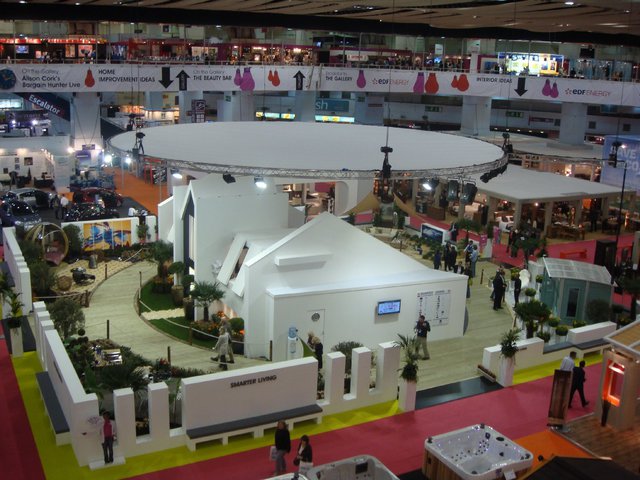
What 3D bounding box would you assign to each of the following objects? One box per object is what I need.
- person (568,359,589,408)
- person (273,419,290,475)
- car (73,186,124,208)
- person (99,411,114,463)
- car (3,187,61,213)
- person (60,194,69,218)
[{"bbox_3d":[8.144,4.425,16.498,0.491,1.370,2.185,5,14,28],"label":"person"},{"bbox_3d":[-0.953,4.962,12.837,0.406,1.507,0.767,-4,13,-7],"label":"person"},{"bbox_3d":[-16.278,-3.174,38.413,2.804,0.752,1.930,-2,17,-13],"label":"car"},{"bbox_3d":[-5.178,4.842,12.776,0.276,1.298,0.466,-8,14,-25],"label":"person"},{"bbox_3d":[-19.693,-2.702,36.257,1.422,1.510,2.723,9,17,42],"label":"car"},{"bbox_3d":[-16.875,-2.149,34.674,0.539,1.457,2.389,-8,14,-26],"label":"person"}]
